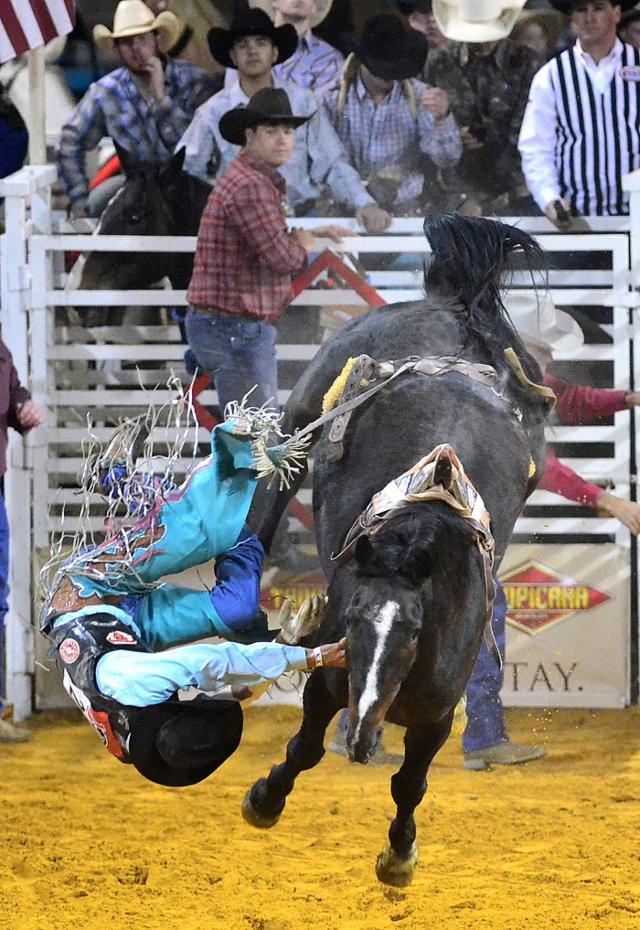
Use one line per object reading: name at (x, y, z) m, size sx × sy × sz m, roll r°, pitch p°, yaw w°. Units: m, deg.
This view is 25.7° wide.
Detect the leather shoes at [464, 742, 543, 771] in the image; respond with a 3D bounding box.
leather shoes at (0.852, 1.357, 6.634) m, size 0.398 × 0.135 × 0.129 m, roll -10°, pitch 3°, yaw 0°

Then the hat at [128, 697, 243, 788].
hat at (-0.421, 0.796, 4.231) m, size 0.278 × 0.312 × 0.117 m, roll 43°, pitch -1°, yaw -19°

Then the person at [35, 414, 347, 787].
person at (-0.448, 0.417, 4.394) m, size 0.808 × 1.077 × 0.773 m, roll -2°, pitch 10°, yaw -15°
